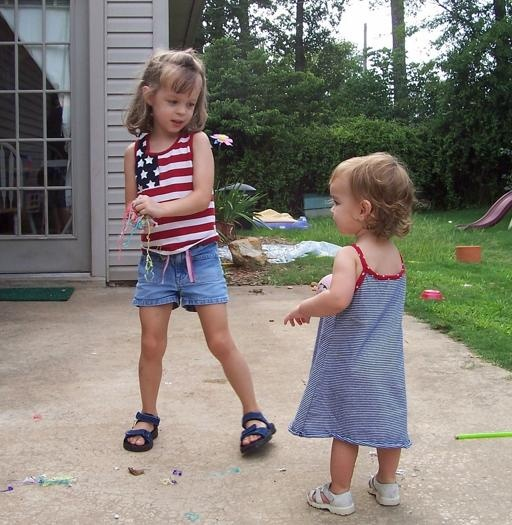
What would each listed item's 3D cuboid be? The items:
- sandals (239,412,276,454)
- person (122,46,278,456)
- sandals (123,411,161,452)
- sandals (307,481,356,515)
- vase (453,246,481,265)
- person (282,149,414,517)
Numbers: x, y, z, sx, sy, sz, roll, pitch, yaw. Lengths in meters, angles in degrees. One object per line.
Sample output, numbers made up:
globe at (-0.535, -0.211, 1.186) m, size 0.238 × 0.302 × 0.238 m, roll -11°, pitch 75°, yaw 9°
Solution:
sandals at (0.004, 0.585, 2.057) m, size 0.122 × 0.099 × 0.202 m, roll 0°, pitch 8°, yaw 1°
person at (-0.207, -0.080, 2.140) m, size 0.549 × 1.395 × 0.587 m, roll 0°, pitch 9°, yaw -2°
sandals at (-0.395, 0.584, 2.050) m, size 0.065 × 0.063 × 0.161 m, roll 1°, pitch -2°, yaw -1°
sandals at (0.203, 0.659, 1.699) m, size 0.121 × 0.055 × 0.060 m, roll 8°, pitch 6°, yaw 35°
vase at (2.613, -0.111, 7.523) m, size 0.288 × 0.195 × 0.307 m, roll 2°, pitch 8°, yaw 16°
person at (0.256, 0.188, 1.659) m, size 0.349 × 0.980 × 0.215 m, roll 0°, pitch 9°, yaw 0°
